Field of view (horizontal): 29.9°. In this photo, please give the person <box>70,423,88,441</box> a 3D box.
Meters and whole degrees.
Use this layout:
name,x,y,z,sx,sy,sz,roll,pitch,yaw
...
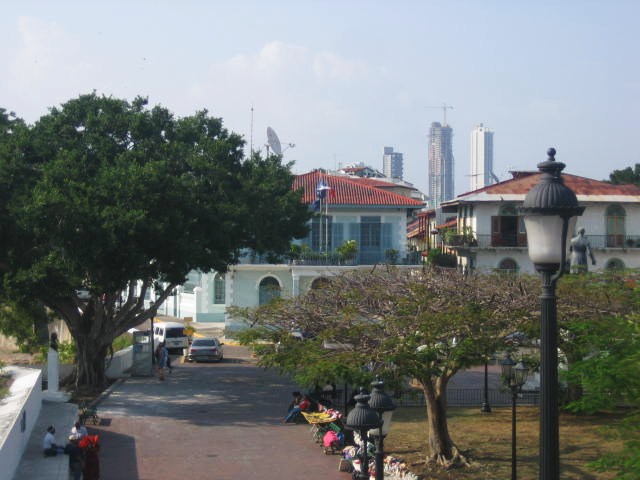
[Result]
name,x,y,z,sx,sy,sz,roll,pitch,yaw
person,-8.678,6.915,43.016,0.741,0.785,0.418,1,4,-6

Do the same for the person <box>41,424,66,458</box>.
name,x,y,z,sx,sy,sz,roll,pitch,yaw
person,-9.578,7.243,43.256,0.774,1.040,0.680,-2,-5,-36

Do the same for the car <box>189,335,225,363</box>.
name,x,y,z,sx,sy,sz,roll,pitch,yaw
car,-6.094,5.957,64.388,1.633,1.323,1.989,0,-8,1

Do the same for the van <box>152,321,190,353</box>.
name,x,y,z,sx,sy,sz,roll,pitch,yaw
van,-8.655,5.600,69.724,1.252,1.296,2.309,0,3,-19

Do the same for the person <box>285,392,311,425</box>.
name,x,y,z,sx,sy,sz,roll,pitch,yaw
person,-0.907,6.841,48.858,1.107,1.215,0.910,-3,-8,24
